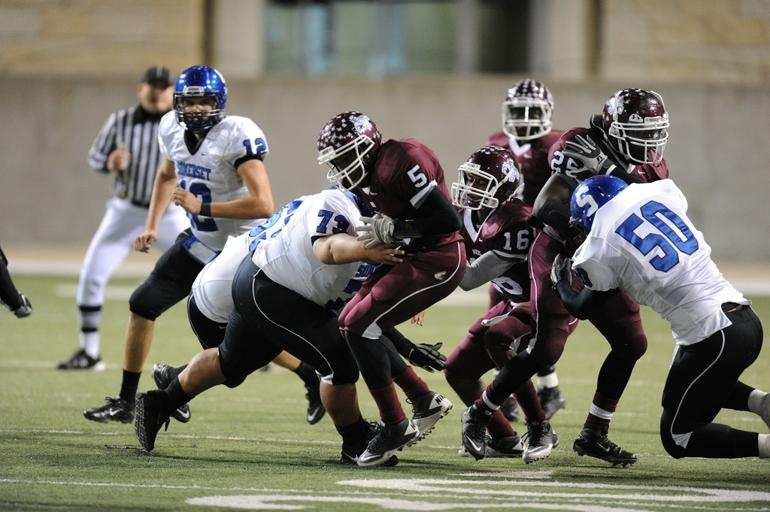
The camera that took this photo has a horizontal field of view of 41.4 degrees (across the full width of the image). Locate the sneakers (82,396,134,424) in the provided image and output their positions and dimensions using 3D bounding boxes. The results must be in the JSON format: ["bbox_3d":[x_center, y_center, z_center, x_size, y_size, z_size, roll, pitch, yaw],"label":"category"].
[{"bbox_3d":[-1.790,1.013,6.725,0.400,0.200,0.140,5,5,-13],"label":"sneakers"}]

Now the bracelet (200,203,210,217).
[{"bbox_3d":[-1.169,-0.303,6.604,0.079,0.068,0.060,5,-3,-1],"label":"bracelet"}]

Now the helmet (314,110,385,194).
[{"bbox_3d":[-0.193,-0.631,6.125,0.466,0.429,0.399,-21,5,-24],"label":"helmet"}]

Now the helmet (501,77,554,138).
[{"bbox_3d":[1.115,-1.153,7.976,0.409,0.425,0.524,0,14,5],"label":"helmet"}]

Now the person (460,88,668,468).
[{"bbox_3d":[1.202,0.113,6.435,1.136,2.360,1.073,6,-2,7],"label":"person"}]

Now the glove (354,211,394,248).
[{"bbox_3d":[-0.086,-0.143,5.858,0.260,0.183,0.137,7,12,36],"label":"glove"}]

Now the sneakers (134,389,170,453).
[{"bbox_3d":[-1.458,0.987,6.305,0.218,0.421,0.153,1,5,-29],"label":"sneakers"}]

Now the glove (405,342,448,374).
[{"bbox_3d":[0.259,0.648,6.208,0.194,0.051,0.193,23,40,6],"label":"glove"}]

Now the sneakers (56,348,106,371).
[{"bbox_3d":[-2.475,0.860,8.358,0.471,0.194,0.157,3,-3,-6],"label":"sneakers"}]

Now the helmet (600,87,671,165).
[{"bbox_3d":[1.596,-0.838,6.534,0.399,0.438,0.468,-18,29,-41],"label":"helmet"}]

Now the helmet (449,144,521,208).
[{"bbox_3d":[0.659,-0.508,6.552,0.504,0.394,0.365,-6,20,-36],"label":"helmet"}]

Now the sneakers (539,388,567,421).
[{"bbox_3d":[1.191,1.038,7.270,0.114,0.158,0.342,-29,1,33],"label":"sneakers"}]

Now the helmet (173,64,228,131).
[{"bbox_3d":[-1.252,-1.077,6.844,0.330,0.394,0.438,2,22,5],"label":"helmet"}]

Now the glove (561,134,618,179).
[{"bbox_3d":[1.266,-0.590,6.436,0.357,0.238,0.141,37,32,-2],"label":"glove"}]

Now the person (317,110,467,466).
[{"bbox_3d":[0.049,0.200,6.081,0.881,2.081,0.431,0,10,-4],"label":"person"}]

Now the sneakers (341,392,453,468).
[{"bbox_3d":[0.071,1.085,6.234,0.508,0.231,0.169,-37,17,-4],"label":"sneakers"}]
